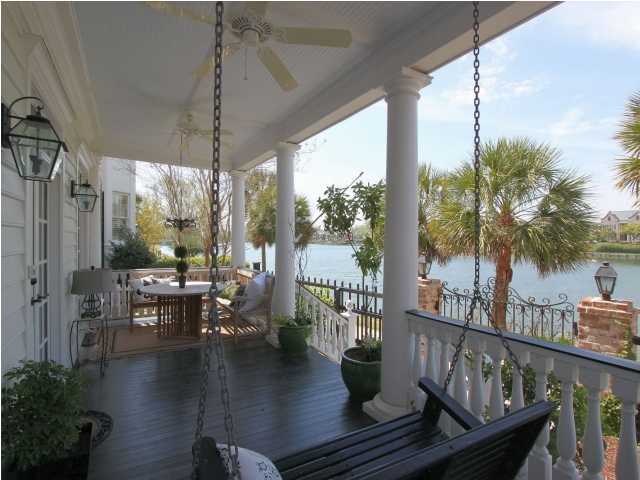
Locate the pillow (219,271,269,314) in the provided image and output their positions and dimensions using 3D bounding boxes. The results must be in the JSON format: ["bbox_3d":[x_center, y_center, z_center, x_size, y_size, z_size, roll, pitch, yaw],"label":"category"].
[{"bbox_3d":[-1.160,0.865,7.190,0.664,0.629,0.747,1,-1,-13],"label":"pillow"}]

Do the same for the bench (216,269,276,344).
[{"bbox_3d":[-1.533,1.102,7.937,0.714,1.048,2.255,-1,3,-25],"label":"bench"}]

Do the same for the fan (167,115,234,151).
[{"bbox_3d":[-1.890,-1.643,6.402,0.936,0.379,0.912,-8,11,-23],"label":"fan"}]

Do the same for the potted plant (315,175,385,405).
[{"bbox_3d":[0.649,0.264,6.491,0.720,3.593,0.767,6,-2,-35],"label":"potted plant"}]

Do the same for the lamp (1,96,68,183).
[{"bbox_3d":[-2.242,-0.808,3.487,0.387,0.696,0.434,7,0,-26],"label":"lamp"}]

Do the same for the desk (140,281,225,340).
[{"bbox_3d":[-2.260,1.143,7.056,1.404,0.997,1.482,1,-4,-4],"label":"desk"}]
